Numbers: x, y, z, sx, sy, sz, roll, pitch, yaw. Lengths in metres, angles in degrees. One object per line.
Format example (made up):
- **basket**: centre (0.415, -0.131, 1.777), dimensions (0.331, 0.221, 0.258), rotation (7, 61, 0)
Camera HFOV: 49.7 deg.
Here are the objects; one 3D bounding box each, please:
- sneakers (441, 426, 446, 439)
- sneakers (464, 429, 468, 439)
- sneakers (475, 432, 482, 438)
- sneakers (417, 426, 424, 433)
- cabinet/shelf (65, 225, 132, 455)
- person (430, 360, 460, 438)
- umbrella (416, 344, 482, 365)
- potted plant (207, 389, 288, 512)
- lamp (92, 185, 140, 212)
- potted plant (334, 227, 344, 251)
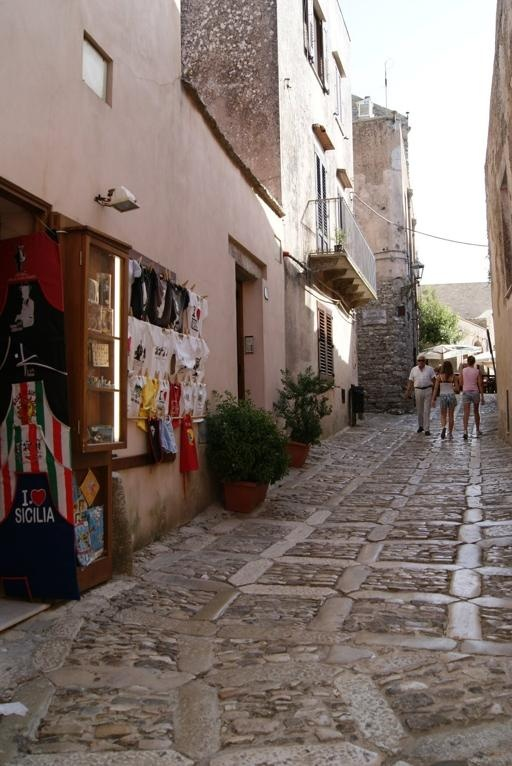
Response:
- **sneakers**: centre (3.738, 0.989, 11.091), dimensions (0.077, 0.268, 0.100), rotation (3, 4, 21)
- **sneakers**: centre (4.048, 1.016, 10.751), dimensions (0.084, 0.161, 0.212), rotation (-2, -3, 18)
- **sneakers**: centre (4.351, 1.057, 10.869), dimensions (0.092, 0.207, 0.191), rotation (2, -1, 14)
- **sneakers**: centre (3.546, 1.002, 12.048), dimensions (0.151, 0.190, 0.081), rotation (3, 9, -27)
- **cabinet/shelf**: centre (-0.939, -0.246, 3.331), dimensions (0.156, 1.287, 0.553), rotation (-2, -3, 16)
- **person**: centre (4.164, 0.290, 12.249), dimensions (0.496, 1.756, 2.941), rotation (-2, -3, 18)
- **umbrella**: centre (7.757, -1.169, 22.423), dimensions (1.179, 0.532, 1.280), rotation (-3, -7, -8)
- **potted plant**: centre (-0.052, 0.618, 6.205), dimensions (0.816, 1.485, 1.152), rotation (1, -1, 8)
- **lamp**: centre (-0.966, -1.294, 3.875), dimensions (0.227, 0.126, 0.267), rotation (-2, -3, 12)
- **potted plant**: centre (1.665, -2.871, 11.179), dimensions (0.171, 0.560, 0.442), rotation (-2, -3, 11)
